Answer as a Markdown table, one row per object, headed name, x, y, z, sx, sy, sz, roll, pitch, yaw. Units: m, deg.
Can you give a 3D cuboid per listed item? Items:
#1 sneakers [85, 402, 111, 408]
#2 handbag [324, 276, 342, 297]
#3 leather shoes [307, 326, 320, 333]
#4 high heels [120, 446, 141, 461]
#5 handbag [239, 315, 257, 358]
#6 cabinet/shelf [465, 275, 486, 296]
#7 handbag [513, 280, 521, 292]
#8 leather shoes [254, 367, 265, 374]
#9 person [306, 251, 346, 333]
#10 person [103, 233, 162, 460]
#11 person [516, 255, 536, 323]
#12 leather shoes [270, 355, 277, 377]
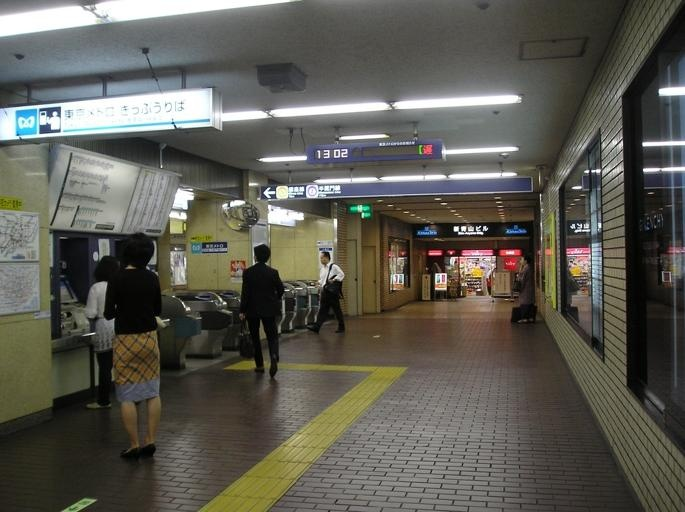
| name | x | y | z | sx | sy | sz | roll | pitch | yaw |
| --- | --- | --- | --- | --- | --- | --- | --- | --- | --- |
| sneakers | -3.185 | 1.941 | 6.319 | 0.298 | 0.084 | 0.119 | 5 | -5 | -5 |
| handbag | -0.180 | 0.775 | 12.447 | 0.449 | 0.467 | 0.332 | 12 | 7 | 40 |
| leather shoes | -0.739 | 1.874 | 12.410 | 0.240 | 0.209 | 0.590 | -1 | -1 | 0 |
| high heels | -2.000 | 1.865 | 4.586 | 0.223 | 0.089 | 0.084 | -1 | -5 | 37 |
| handbag | -1.512 | 1.295 | 7.673 | 0.206 | 0.619 | 0.305 | -1 | -1 | -11 |
| cabinet/shelf | 8.437 | 1.905 | 30.721 | 1.483 | 1.440 | 1.100 | -1 | -4 | 12 |
| handbag | 4.987 | 0.870 | 13.920 | 0.206 | 0.329 | 0.618 | -1 | -1 | 19 |
| leather shoes | -1.379 | 1.894 | 8.073 | 0.167 | 0.140 | 0.072 | 6 | -8 | 15 |
| person | -0.378 | 0.940 | 12.697 | 0.830 | 2.088 | 1.347 | -1 | -1 | -1 |
| person | -2.022 | 0.843 | 4.694 | 0.488 | 2.125 | 0.310 | 0 | -1 | -22 |
| person | 5.358 | 0.969 | 14.260 | 0.452 | 1.935 | 0.984 | -1 | -1 | 19 |
| leather shoes | -1.094 | 1.725 | 7.657 | 0.100 | 0.308 | 0.129 | 3 | -10 | 13 |
